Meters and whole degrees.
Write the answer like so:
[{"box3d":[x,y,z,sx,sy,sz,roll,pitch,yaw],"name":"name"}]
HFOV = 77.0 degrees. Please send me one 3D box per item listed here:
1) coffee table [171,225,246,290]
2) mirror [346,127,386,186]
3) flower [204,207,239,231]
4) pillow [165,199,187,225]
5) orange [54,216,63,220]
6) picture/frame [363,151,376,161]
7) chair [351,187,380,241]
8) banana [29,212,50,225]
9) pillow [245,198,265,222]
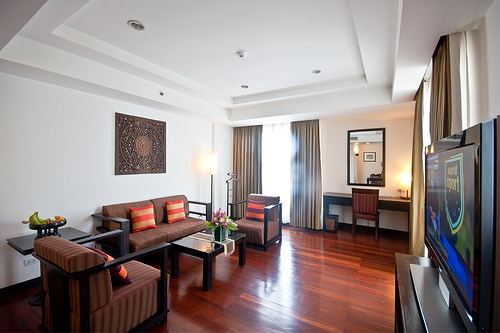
[{"box3d":[-0.745,1.471,4.898,0.680,0.476,0.944,8,-4,23],"name":"coffee table"},{"box3d":[2.487,-0.186,6.719,0.784,1.083,0.177,-2,-1,21],"name":"mirror"},{"box3d":[-0.446,0.781,4.949,0.295,0.246,0.293,4,3,1],"name":"flower"},{"box3d":[-1.416,0.846,5.940,0.153,0.442,0.459,-13,-5,31],"name":"pillow"},{"box3d":[-2.653,0.705,4.336,0.080,0.061,0.079,1,2,-21],"name":"orange"},{"box3d":[2.544,-0.230,6.670,0.206,0.199,0.014,0,-3,45],"name":"picture/frame"},{"box3d":[2.258,0.931,6.161,0.502,0.887,0.288,-2,-1,20],"name":"chair"},{"box3d":[-2.834,0.710,4.292,0.121,0.244,0.368,5,-7,-6],"name":"banana"},{"box3d":[0.111,0.828,6.001,0.388,0.362,0.148,-1,-16,34],"name":"pillow"}]
